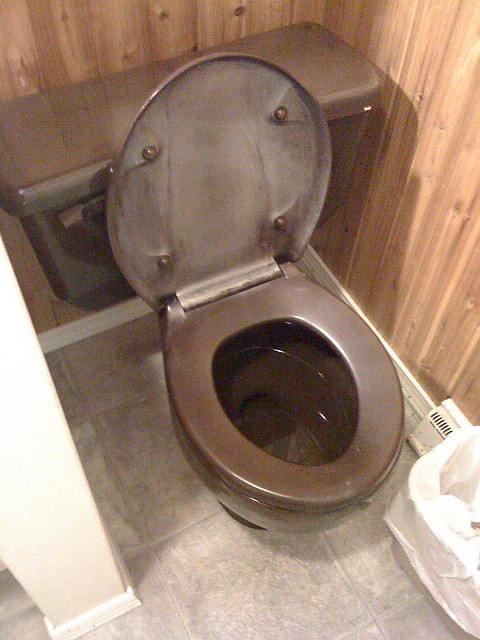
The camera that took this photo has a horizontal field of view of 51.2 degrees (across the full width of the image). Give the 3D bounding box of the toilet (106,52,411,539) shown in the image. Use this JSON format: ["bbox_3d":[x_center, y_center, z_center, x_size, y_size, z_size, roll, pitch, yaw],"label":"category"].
[{"bbox_3d":[0.010,0.095,0.829,0.296,0.764,0.570,-10,65,1],"label":"toilet"}]

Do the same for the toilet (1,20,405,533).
[{"bbox_3d":[-0.036,-0.084,0.836,0.417,0.602,0.599,-22,66,-12],"label":"toilet"}]
